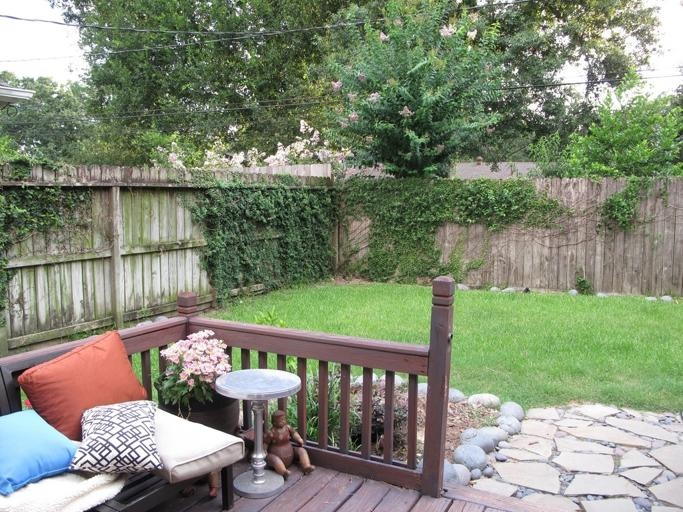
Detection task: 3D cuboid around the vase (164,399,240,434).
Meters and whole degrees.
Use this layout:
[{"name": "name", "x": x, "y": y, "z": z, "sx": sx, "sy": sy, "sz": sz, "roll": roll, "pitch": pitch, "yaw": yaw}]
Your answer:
[{"name": "vase", "x": -1.128, "y": 1.371, "z": 5.161, "sx": 0.359, "sy": 0.344, "sz": 0.429, "roll": 0, "pitch": -9, "yaw": -9}]

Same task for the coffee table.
[{"name": "coffee table", "x": -0.703, "y": 1.498, "z": 5.015, "sx": 0.674, "sy": 0.891, "sz": 0.745, "roll": 0, "pitch": 0, "yaw": 10}]

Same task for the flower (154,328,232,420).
[{"name": "flower", "x": -1.346, "y": 1.143, "z": 5.283, "sx": 0.665, "sy": 0.780, "sz": 0.721, "roll": -10, "pitch": -7, "yaw": 1}]
